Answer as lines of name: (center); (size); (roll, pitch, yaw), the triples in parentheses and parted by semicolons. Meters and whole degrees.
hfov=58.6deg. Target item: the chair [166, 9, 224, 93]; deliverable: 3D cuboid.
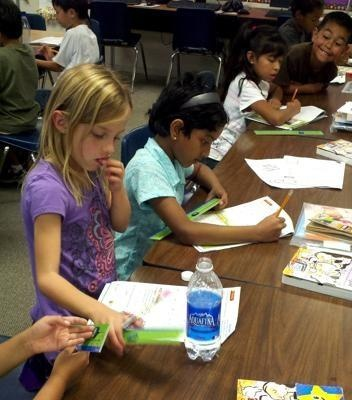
chair: (0.279, -2.265, 4.502); (0.699, 1.227, 0.903); (3, 40, 5)

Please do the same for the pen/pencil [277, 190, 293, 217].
pen/pencil: (0.407, 0.016, 1.170); (0.014, 0.112, 0.016); (20, 28, -6)

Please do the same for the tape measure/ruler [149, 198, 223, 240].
tape measure/ruler: (0.057, 0.054, 1.108); (0.098, 0.019, 0.384); (-11, 16, 46)

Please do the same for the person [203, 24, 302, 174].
person: (0.464, -0.489, 2.247); (0.575, 1.334, 0.455); (10, 22, 5)
